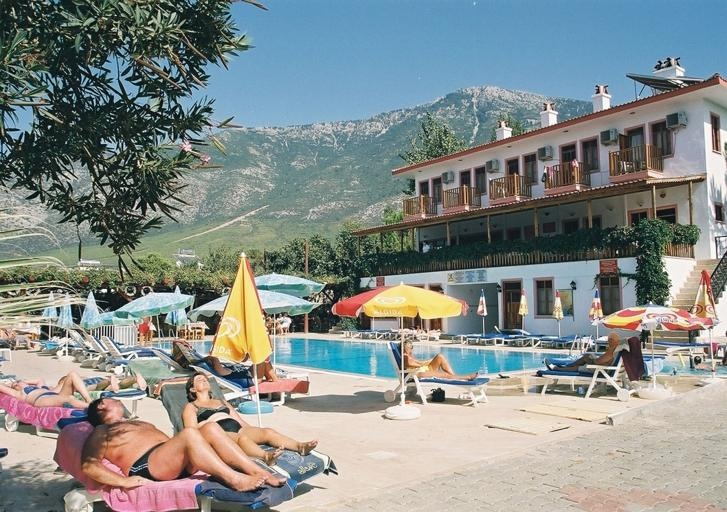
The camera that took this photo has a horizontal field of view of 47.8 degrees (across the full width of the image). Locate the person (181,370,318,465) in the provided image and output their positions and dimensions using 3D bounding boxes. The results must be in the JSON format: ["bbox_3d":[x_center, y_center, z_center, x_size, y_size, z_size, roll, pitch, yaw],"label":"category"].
[{"bbox_3d":[-1.820,2.309,11.860,1.137,1.097,2.624,0,-3,-39],"label":"person"}]

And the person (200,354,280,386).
[{"bbox_3d":[-2.543,2.499,17.494,1.449,0.399,0.968,-1,-2,-20],"label":"person"}]

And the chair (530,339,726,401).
[{"bbox_3d":[4.922,2.435,17.747,2.116,1.124,1.550,-4,-8,39],"label":"chair"}]

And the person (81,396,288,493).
[{"bbox_3d":[-2.558,2.601,11.326,2.303,0.799,1.122,-1,-8,16],"label":"person"}]

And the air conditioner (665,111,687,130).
[{"bbox_3d":[11.337,-4.929,29.879,0.483,0.543,0.638,2,-5,-41],"label":"air conditioner"}]

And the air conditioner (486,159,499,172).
[{"bbox_3d":[5.850,-4.107,37.390,0.311,0.492,0.543,8,-13,-11],"label":"air conditioner"}]

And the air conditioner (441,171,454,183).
[{"bbox_3d":[4.018,-3.807,39.882,0.493,0.577,0.623,1,-4,45],"label":"air conditioner"}]

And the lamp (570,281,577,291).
[{"bbox_3d":[7.801,1.092,30.628,0.300,0.405,0.257,5,-7,-23],"label":"lamp"}]

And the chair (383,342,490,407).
[{"bbox_3d":[1.443,2.532,17.297,1.867,1.022,1.131,1,-7,5],"label":"chair"}]

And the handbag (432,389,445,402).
[{"bbox_3d":[1.536,2.902,17.150,0.269,0.201,0.241,3,-1,-24],"label":"handbag"}]

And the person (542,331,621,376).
[{"bbox_3d":[4.812,2.145,17.835,1.666,0.873,0.718,-7,-11,27],"label":"person"}]

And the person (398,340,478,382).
[{"bbox_3d":[1.519,2.205,17.307,1.786,0.849,0.872,-2,4,29],"label":"person"}]

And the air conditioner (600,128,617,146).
[{"bbox_3d":[9.500,-4.608,31.886,0.410,0.686,0.737,4,-2,-25],"label":"air conditioner"}]

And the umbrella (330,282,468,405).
[{"bbox_3d":[0.775,1.688,17.046,2.689,2.337,2.653,0,2,14],"label":"umbrella"}]

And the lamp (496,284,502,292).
[{"bbox_3d":[5.562,1.307,33.827,0.166,0.353,0.275,0,-4,-23],"label":"lamp"}]

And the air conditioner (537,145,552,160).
[{"bbox_3d":[7.648,-4.247,34.916,0.518,0.846,0.913,4,-5,2],"label":"air conditioner"}]
